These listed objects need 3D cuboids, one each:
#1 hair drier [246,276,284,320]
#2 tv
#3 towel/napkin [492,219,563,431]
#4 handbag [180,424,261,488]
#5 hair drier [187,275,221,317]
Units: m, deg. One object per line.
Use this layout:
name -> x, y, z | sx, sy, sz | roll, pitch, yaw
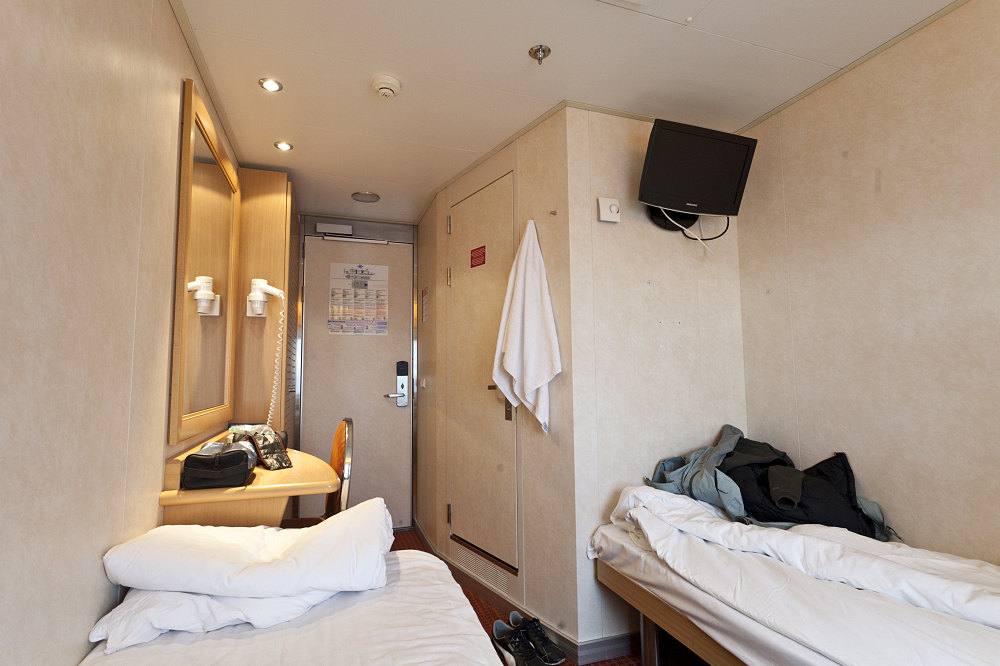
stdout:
hair drier -> -1.426, -0.212, 4.085 | 0.212, 0.236, 0.191 | 1, -1, -21
tv -> 1.020, -0.853, 3.681 | 0.613, 0.506, 0.220 | 6, 15, -13
towel/napkin -> 0.149, -0.047, 3.750 | 0.209, 1.189, 0.447 | 1, -1, -30
handbag -> -1.292, 0.578, 3.109 | 0.253, 0.154, 0.428 | -1, 4, -14
hair drier -> -1.470, -0.179, 3.365 | 0.159, 0.192, 0.195 | 4, -2, -6
